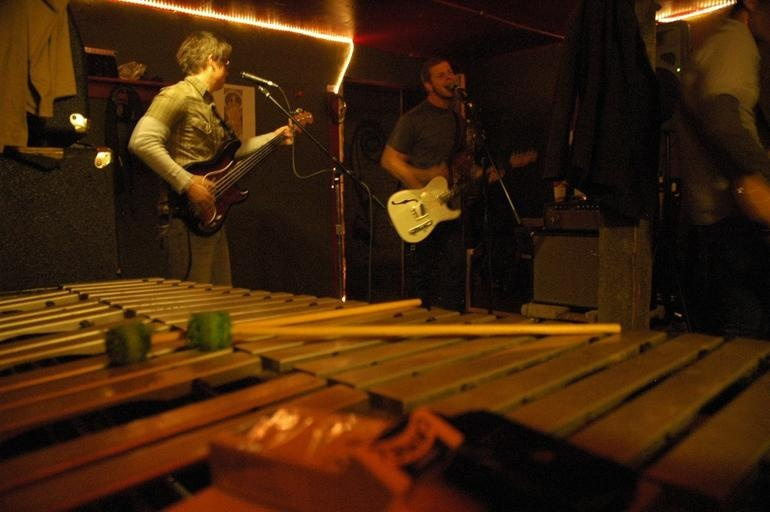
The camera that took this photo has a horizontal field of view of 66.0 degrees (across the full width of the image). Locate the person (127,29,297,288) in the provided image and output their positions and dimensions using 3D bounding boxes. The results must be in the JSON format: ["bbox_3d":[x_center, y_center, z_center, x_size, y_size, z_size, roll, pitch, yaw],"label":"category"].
[{"bbox_3d":[-1.207,-0.625,3.950,0.424,1.691,1.068,-1,1,24],"label":"person"}]

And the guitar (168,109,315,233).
[{"bbox_3d":[-1.174,-0.715,4.838,0.190,0.483,1.391,7,37,29],"label":"guitar"}]

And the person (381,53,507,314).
[{"bbox_3d":[0.505,-0.613,5.502,0.992,2.128,0.608,-2,1,-40],"label":"person"}]
